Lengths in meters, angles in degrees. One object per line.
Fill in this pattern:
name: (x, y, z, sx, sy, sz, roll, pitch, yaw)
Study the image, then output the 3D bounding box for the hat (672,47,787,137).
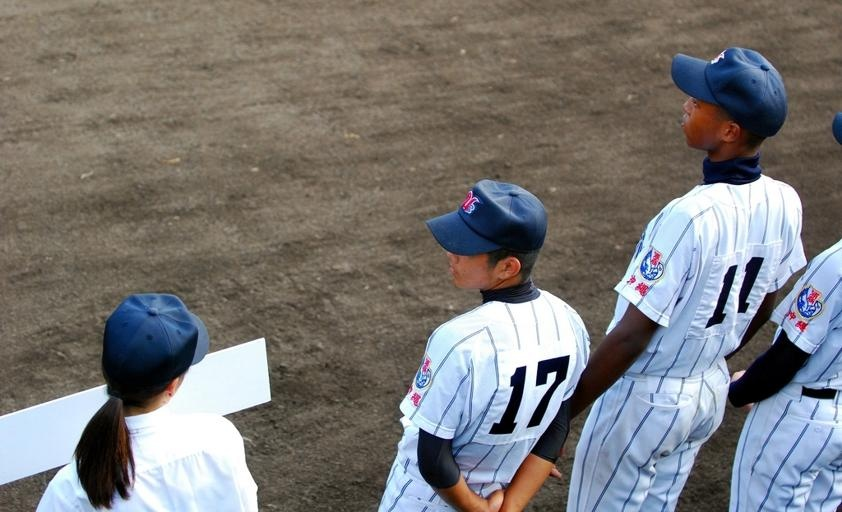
hat: (2.484, -1.317, 9.747, 0.910, 0.364, 0.601, 28, 51, -6)

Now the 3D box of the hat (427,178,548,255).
hat: (0.513, -0.284, 9.336, 0.773, 0.352, 0.553, 5, 34, -9)
